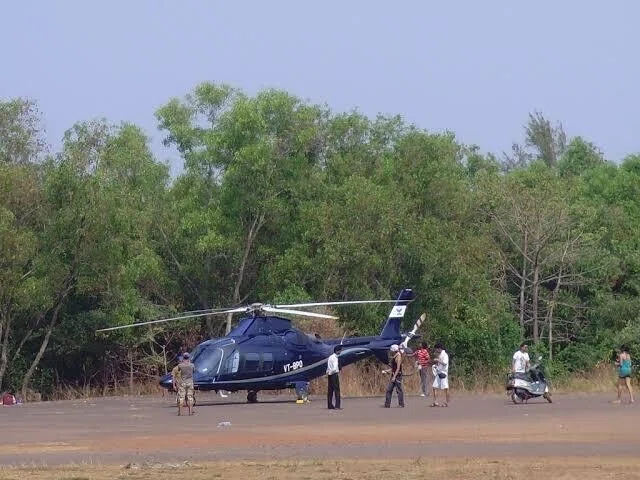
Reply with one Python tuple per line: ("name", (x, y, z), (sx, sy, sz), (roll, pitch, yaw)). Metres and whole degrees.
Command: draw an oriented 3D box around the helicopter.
("helicopter", (-2.131, 5.870, 59.342), (14.936, 5.737, 14.643), (1, -9, -20))
